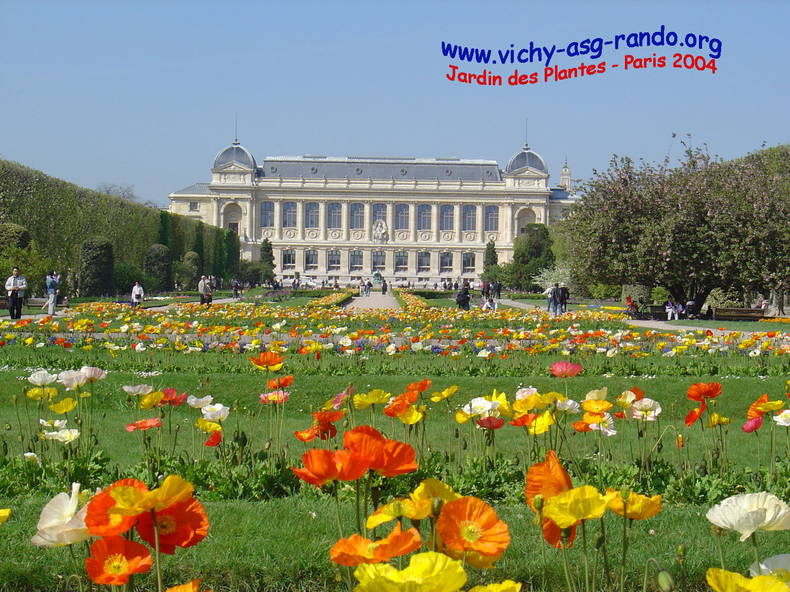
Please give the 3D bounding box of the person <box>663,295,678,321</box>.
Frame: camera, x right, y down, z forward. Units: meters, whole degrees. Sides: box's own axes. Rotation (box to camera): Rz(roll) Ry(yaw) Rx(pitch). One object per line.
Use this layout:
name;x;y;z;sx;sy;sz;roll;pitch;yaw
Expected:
person;7.457;0.328;29.229;0.354;0.453;0.845;1;35;6

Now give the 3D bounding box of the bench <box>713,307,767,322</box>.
bench;8.546;0.443;26.866;1.129;0.299;0.739;2;-1;12

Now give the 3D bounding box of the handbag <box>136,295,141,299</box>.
handbag;-6.457;0.012;27.203;0.063;0.087;0.040;-16;32;-29
